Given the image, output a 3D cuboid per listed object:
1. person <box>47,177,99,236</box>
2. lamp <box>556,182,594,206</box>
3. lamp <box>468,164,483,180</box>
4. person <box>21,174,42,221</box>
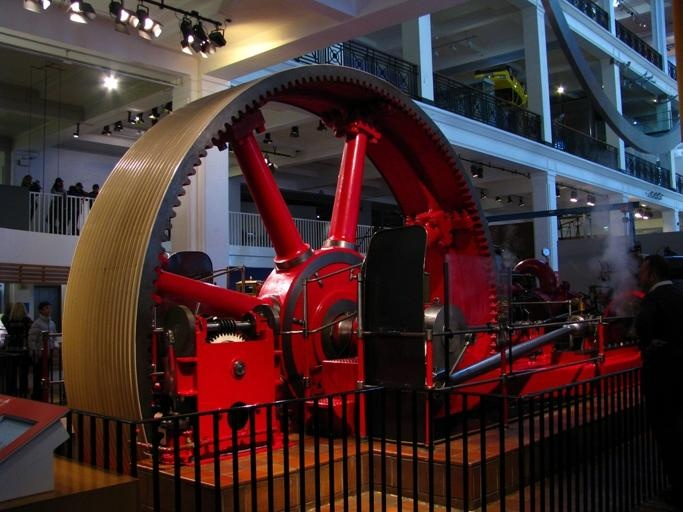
[{"bbox_3d":[-6.404,-1.171,14.977,1.077,1.465,1.752,1,-3,-26],"label":"person"},{"bbox_3d":[8.910,-2.209,23.997,1.361,0.733,3.255,-1,-3,19],"label":"lamp"},{"bbox_3d":[3.971,-2.487,18.546,0.334,0.514,0.468,7,7,41],"label":"lamp"},{"bbox_3d":[-7.327,-1.400,14.793,0.371,1.318,2.744,1,-3,-26],"label":"person"}]
